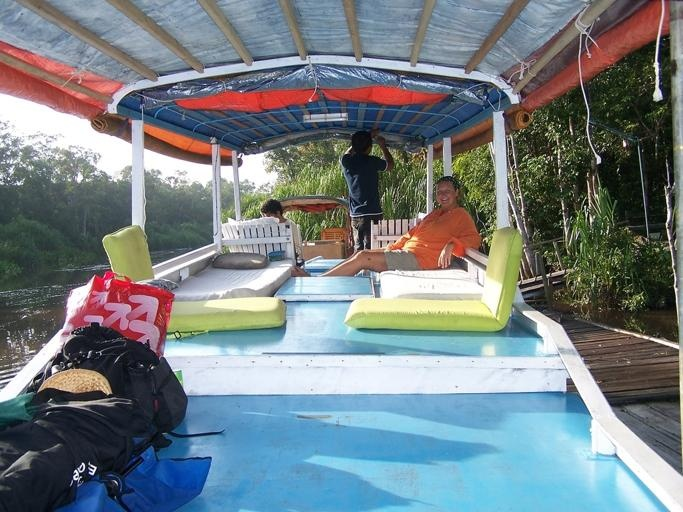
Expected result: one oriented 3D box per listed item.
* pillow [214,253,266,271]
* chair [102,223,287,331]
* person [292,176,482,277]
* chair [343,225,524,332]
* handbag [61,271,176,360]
[{"bbox_3d":[-1.345,0.060,6.127,0.565,0.160,0.275,0,10,4],"label":"pillow"},{"bbox_3d":[-1.199,0.137,3.806,1.474,0.851,0.823,0,5,6],"label":"chair"},{"bbox_3d":[0.728,-0.340,5.902,1.813,1.012,1.171,-5,9,3],"label":"person"},{"bbox_3d":[0.705,0.181,3.758,1.284,0.743,0.746,2,-1,4],"label":"chair"},{"bbox_3d":[-1.342,0.369,2.834,0.456,0.370,0.175,15,-10,4],"label":"handbag"}]
